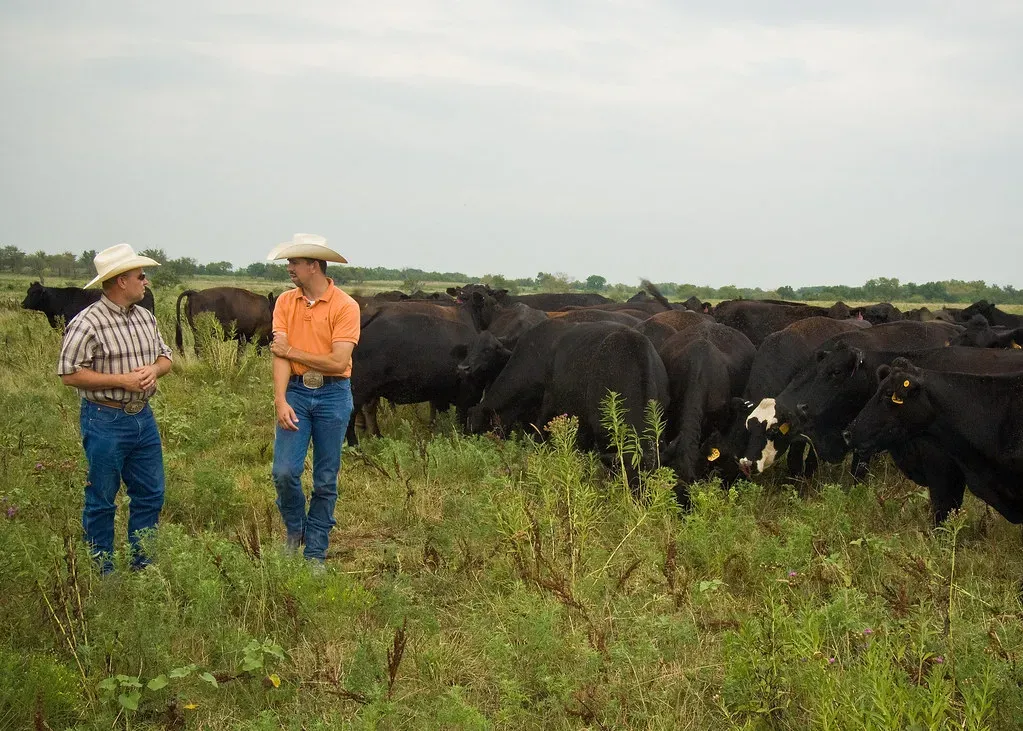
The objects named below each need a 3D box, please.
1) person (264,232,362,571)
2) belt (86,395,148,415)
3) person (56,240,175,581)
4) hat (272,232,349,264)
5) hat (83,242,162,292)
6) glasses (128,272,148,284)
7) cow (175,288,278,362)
[{"bbox_3d":[-2.108,0.351,8.639,0.868,3.303,0.888,5,11,4],"label":"person"},{"bbox_3d":[-3.855,0.367,8.105,0.537,0.157,0.171,-1,12,-26],"label":"belt"},{"bbox_3d":[-3.843,0.398,8.174,0.680,3.170,0.975,10,13,31],"label":"person"},{"bbox_3d":[-2.117,-1.194,8.543,0.679,0.250,0.471,3,11,-6],"label":"hat"},{"bbox_3d":[-3.784,-0.956,8.056,0.554,0.429,0.602,-1,12,-26],"label":"hat"},{"bbox_3d":[-3.712,-0.868,8.242,0.133,0.139,0.103,-1,12,9],"label":"glasses"},{"bbox_3d":[-8.563,-1.442,25.242,2.124,1.701,3.334,7,11,14],"label":"cow"}]
